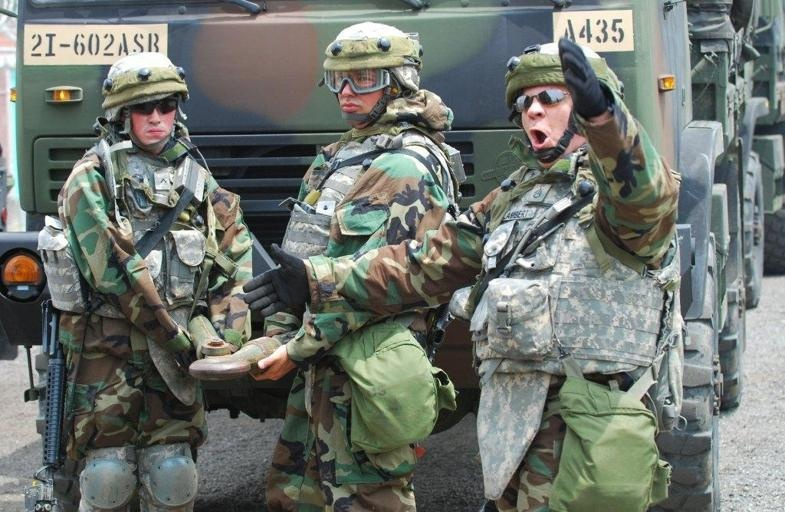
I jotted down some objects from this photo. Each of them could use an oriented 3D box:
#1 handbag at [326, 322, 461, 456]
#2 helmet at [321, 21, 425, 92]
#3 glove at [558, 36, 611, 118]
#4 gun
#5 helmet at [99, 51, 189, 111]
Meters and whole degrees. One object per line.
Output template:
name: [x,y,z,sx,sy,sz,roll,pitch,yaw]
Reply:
handbag: [-0.022,0.689,5.968,0.546,0.544,0.299,-22,-20,-19]
helmet: [-0.093,-1.087,6.199,0.438,0.283,0.401,3,-3,-37]
glove: [0.844,-0.763,4.891,0.212,0.353,0.123,-1,9,10]
gun: [-1.930,0.693,6.226,0.122,0.922,0.320,3,-6,-27]
helmet: [-1.389,-0.956,6.193,0.308,0.249,0.394,-11,-12,-7]
